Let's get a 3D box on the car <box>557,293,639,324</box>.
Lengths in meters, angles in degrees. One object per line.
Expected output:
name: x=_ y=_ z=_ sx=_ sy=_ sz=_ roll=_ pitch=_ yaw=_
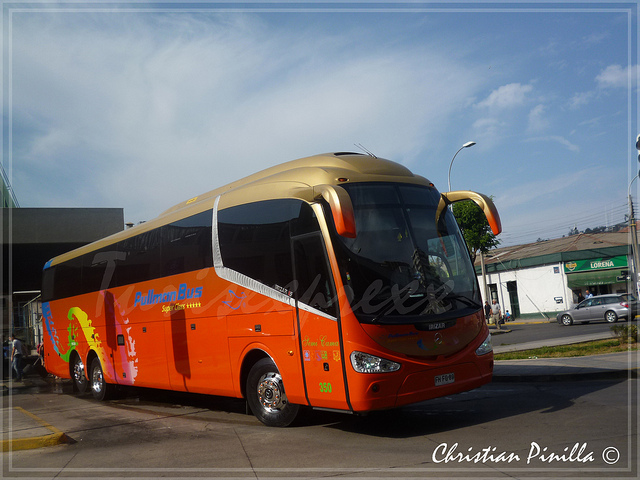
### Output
car: x=17.372 y=4.249 z=29.730 sx=1.760 sy=1.356 sz=4.327 roll=3 pitch=-6 yaw=-38

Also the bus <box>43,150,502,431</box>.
bus: x=-2.895 y=1.735 z=14.567 sx=4.992 sy=6.004 sz=16.215 roll=4 pitch=-11 yaw=-39

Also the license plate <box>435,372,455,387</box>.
license plate: x=2.125 y=2.353 z=8.059 sx=0.469 sy=0.168 sz=0.018 roll=1 pitch=-8 yaw=-33

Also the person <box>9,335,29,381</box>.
person: x=-14.769 y=5.819 z=23.151 sx=0.441 sy=2.096 sz=1.122 roll=0 pitch=-8 yaw=-32
